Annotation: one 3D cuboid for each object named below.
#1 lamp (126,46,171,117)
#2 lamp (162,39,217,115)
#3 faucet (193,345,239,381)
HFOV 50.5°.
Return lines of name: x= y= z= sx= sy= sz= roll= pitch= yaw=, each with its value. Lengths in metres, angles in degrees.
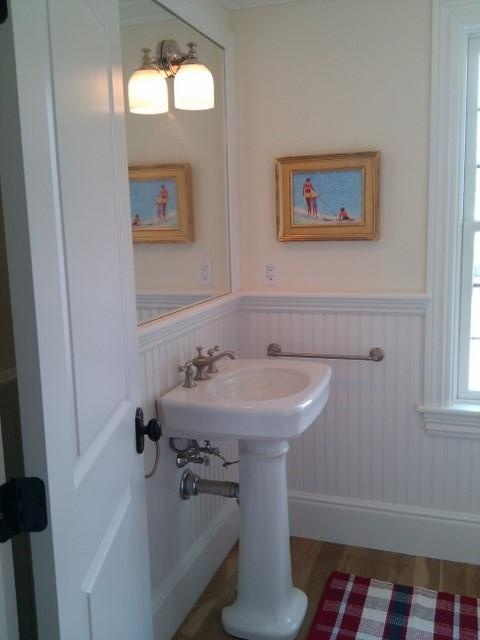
lamp: x=-0.299 y=-0.756 z=1.626 sx=0.108 sy=0.214 sz=0.123 roll=-4 pitch=0 yaw=-19
lamp: x=-0.187 y=-0.878 z=1.848 sx=0.206 sy=0.319 sz=0.163 roll=11 pitch=25 yaw=21
faucet: x=-0.111 y=0.158 z=1.892 sx=0.084 sy=0.155 sz=0.192 roll=-5 pitch=2 yaw=-44
